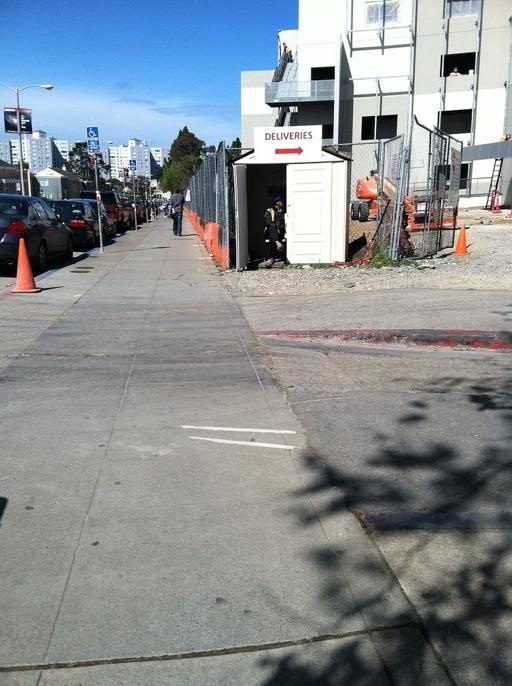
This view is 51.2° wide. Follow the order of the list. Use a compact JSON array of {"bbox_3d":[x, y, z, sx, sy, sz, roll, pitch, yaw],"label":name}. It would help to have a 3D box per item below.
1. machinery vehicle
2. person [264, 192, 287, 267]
[{"bbox_3d":[4.551,-4.502,16.612,3.125,2.089,6.233,2,11,11],"label":"machinery vehicle"},{"bbox_3d":[0.589,-3.156,14.577,0.708,1.944,1.095,8,7,-4],"label":"person"}]
